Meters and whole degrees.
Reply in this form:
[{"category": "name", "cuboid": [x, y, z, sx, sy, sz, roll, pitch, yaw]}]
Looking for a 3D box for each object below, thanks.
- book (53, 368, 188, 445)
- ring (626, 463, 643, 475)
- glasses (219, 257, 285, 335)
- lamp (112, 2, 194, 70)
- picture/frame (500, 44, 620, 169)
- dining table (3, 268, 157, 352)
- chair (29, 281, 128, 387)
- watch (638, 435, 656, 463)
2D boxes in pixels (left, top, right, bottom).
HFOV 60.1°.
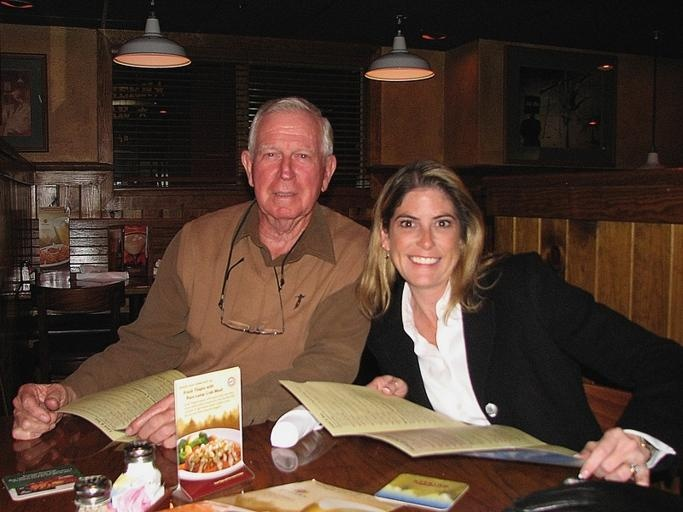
[{"category": "book", "cuboid": [-0.597, 0.397, 1.693, 0.258, 0.054, 0.265, -8, -23, -24]}, {"category": "ring", "cuboid": [0.716, 0.520, 1.441, 0.022, 0.025, 0.009, 6, -42, 9]}, {"category": "glasses", "cuboid": [-0.339, 0.172, 2.225, 0.243, 0.239, 0.124, -2, 15, -7]}, {"category": "lamp", "cuboid": [-1.352, -1.537, 4.367, 0.584, 0.509, 0.566, 0, -2, -27]}, {"category": "picture/frame", "cuboid": [2.393, -1.537, 6.338, 0.162, 1.189, 1.503, -19, 22, -27]}, {"category": "dining table", "cuboid": [-2.244, 0.296, 4.725, 1.408, 0.607, 0.932, -2, 6, -45]}, {"category": "chair", "cuboid": [-2.110, 0.593, 4.770, 0.754, 0.742, 0.692, -2, 3, -30]}, {"category": "watch", "cuboid": [0.779, 0.487, 1.493, 0.047, 0.048, 0.056, -16, -50, 30]}]
